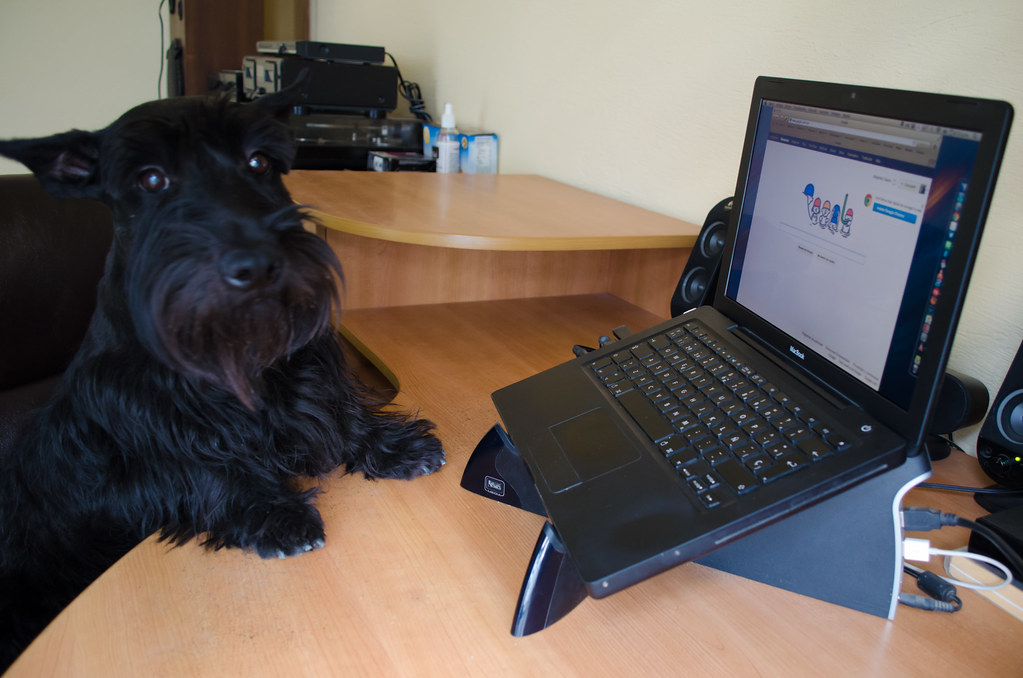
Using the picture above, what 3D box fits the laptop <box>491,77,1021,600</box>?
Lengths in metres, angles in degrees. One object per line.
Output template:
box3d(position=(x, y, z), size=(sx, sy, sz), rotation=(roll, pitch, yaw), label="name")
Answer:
box3d(position=(0.265, -0.025, 0.933), size=(0.477, 0.589, 0.489), rotation=(-4, 28, -18), label="laptop")
